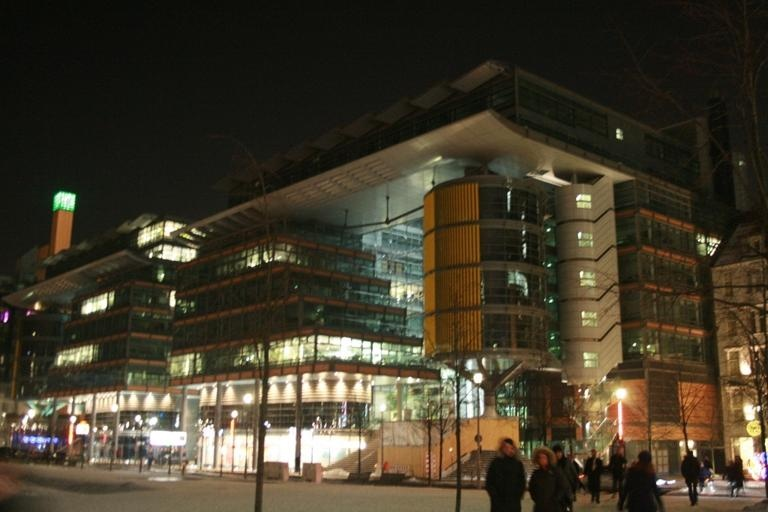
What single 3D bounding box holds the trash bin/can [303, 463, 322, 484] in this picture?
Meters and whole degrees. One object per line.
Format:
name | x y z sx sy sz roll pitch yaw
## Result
trash bin/can | -6.423 19.323 73.186 1.633 1.476 0.906 -10 -13 41
